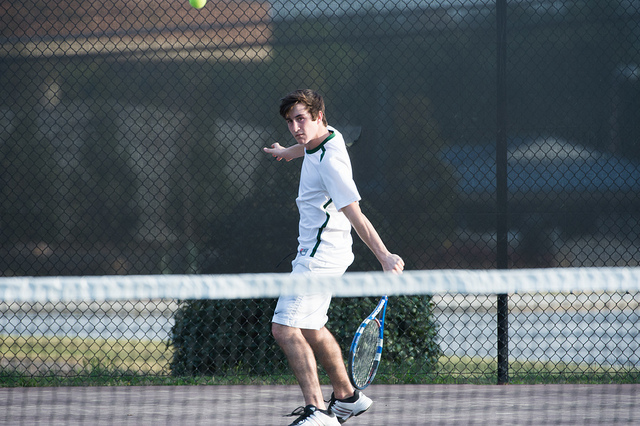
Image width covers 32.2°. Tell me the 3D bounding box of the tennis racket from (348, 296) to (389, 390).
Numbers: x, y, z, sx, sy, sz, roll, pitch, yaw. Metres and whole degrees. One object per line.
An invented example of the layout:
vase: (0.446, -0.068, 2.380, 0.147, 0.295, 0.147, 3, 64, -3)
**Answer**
tennis racket: (0.423, 1.148, 9.605, 0.051, 0.441, 0.769, 12, -18, 21)

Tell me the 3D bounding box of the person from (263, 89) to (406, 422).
person: (0.064, 0.357, 9.202, 0.959, 2.796, 1.074, -3, 4, -3)
